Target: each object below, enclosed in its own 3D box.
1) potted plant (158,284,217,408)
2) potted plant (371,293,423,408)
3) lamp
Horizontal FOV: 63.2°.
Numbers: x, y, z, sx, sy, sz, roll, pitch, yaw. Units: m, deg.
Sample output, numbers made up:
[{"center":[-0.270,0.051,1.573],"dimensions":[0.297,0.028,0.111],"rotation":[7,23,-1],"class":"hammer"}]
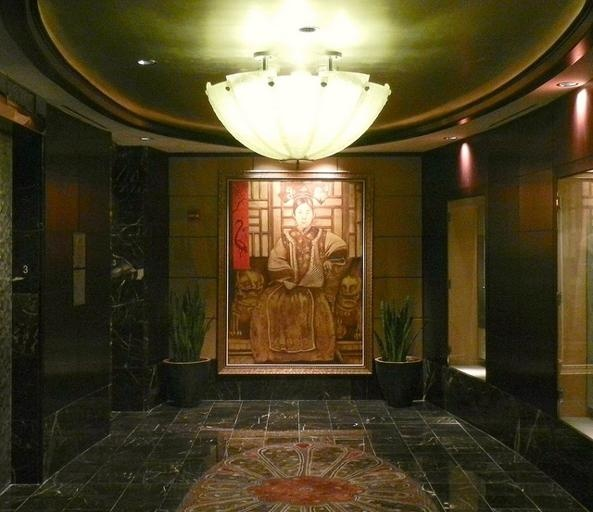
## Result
[{"center":[-1.160,0.949,5.143],"dimensions":[0.531,1.222,0.479],"rotation":[-1,0,-12],"class":"potted plant"},{"center":[1.076,1.024,5.163],"dimensions":[0.508,0.782,0.515],"rotation":[-1,-1,12],"class":"potted plant"},{"center":[0.040,-0.902,3.171],"dimensions":[1.148,0.627,1.067],"rotation":[2,-7,-16],"class":"lamp"}]
